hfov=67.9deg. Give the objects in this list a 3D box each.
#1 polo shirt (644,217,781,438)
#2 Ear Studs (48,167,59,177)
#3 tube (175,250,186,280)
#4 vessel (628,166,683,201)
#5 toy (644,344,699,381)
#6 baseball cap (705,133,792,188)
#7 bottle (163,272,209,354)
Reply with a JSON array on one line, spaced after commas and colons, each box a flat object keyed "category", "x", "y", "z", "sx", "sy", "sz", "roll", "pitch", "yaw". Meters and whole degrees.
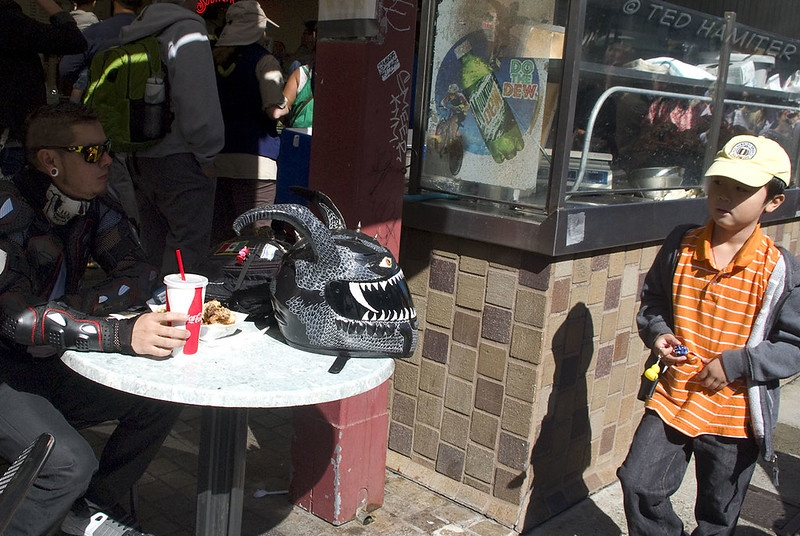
[{"category": "polo shirt", "x": 1.487, "y": 0.284, "z": 2.811, "sx": 0.246, "sy": 1.018, "sz": 0.612, "roll": 15, "pitch": -9, "yaw": -22}, {"category": "Ear Studs", "x": -1.529, "y": -0.423, "z": 2.617, "sx": 0.039, "sy": 0.045, "sz": 0.014, "roll": 2, "pitch": 18, "yaw": -7}, {"category": "tube", "x": -1.180, "y": -0.027, "z": 3.191, "sx": 0.032, "sy": 0.199, "sz": 0.029, "roll": 8, "pitch": 55, "yaw": -8}, {"category": "vessel", "x": 1.707, "y": -0.527, "z": 3.962, "sx": 0.300, "sy": 0.173, "sz": 0.300, "roll": -2, "pitch": 5, "yaw": -8}, {"category": "toy", "x": 1.337, "y": 0.501, "z": 3.033, "sx": 0.391, "sy": 0.105, "sz": 0.235, "roll": -11, "pitch": -5, "yaw": -41}, {"category": "baseball cap", "x": 1.620, "y": -0.495, "z": 2.755, "sx": 0.335, "sy": 0.173, "sz": 0.254, "roll": 6, "pitch": 9, "yaw": -36}, {"category": "bottle", "x": -0.872, "y": 0.173, "z": 2.424, "sx": 0.152, "sy": 0.306, "sz": 0.218, "roll": -3, "pitch": 19, "yaw": -22}]
